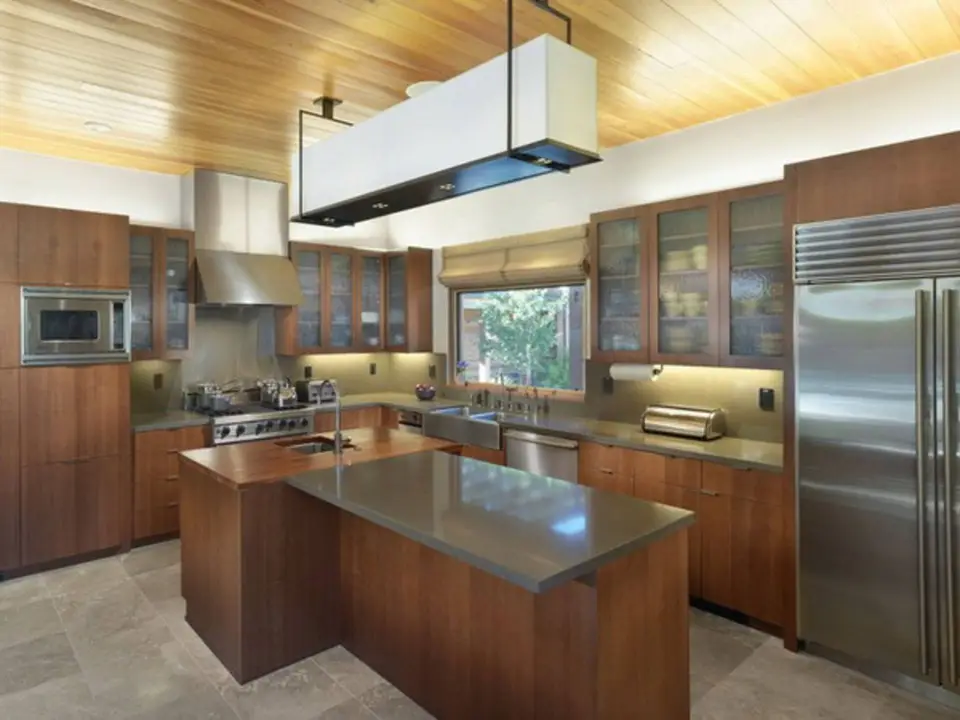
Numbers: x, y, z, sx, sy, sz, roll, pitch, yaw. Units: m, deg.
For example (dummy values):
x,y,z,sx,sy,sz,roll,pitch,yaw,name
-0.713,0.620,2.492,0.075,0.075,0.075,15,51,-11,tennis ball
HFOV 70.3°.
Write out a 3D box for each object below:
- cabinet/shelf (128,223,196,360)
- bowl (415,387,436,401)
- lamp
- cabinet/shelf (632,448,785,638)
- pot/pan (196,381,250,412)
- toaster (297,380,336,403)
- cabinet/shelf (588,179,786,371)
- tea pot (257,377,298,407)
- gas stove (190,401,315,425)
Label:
x,y,z,sx,sy,sz,roll,pitch,yaw,name
-2.827,-0.590,6.076,0.649,1.163,0.282,-8,16,-31,cabinet/shelf
-0.565,0.351,7.059,0.162,0.103,0.158,1,-8,0,bowl
-0.204,-1.225,3.498,1.691,0.988,0.336,8,15,31,lamp
1.462,1.149,4.186,1.227,1.088,0.625,-2,-6,44,cabinet/shelf
-2.445,0.360,6.534,0.455,0.159,0.243,1,0,-40,pot/pan
-1.627,0.308,6.694,0.198,0.186,0.270,1,2,34,toaster
1.572,-0.602,5.013,1.618,1.293,0.468,-1,-1,44,cabinet/shelf
-2.006,0.325,6.787,0.411,0.334,0.262,2,1,24,tea pot
-2.164,0.464,6.445,0.941,0.139,0.655,-10,16,-39,gas stove
